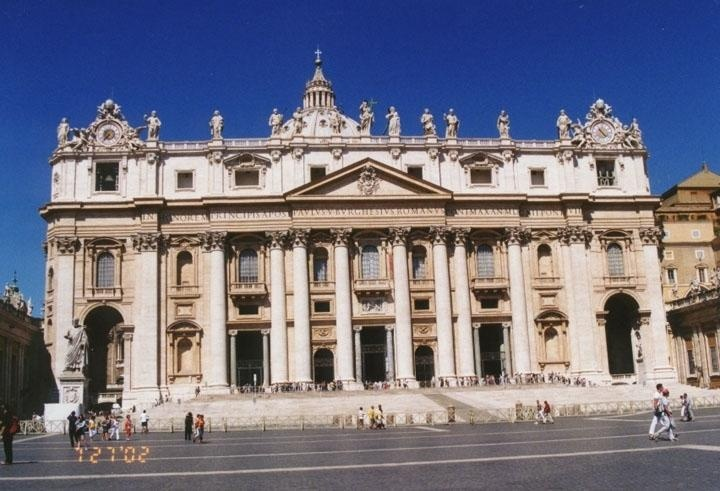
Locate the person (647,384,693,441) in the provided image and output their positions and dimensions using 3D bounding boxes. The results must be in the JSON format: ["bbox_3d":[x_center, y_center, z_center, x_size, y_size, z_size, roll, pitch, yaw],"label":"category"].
[{"bbox_3d":[14.397,8.109,38.794,1.147,2.503,1.311,-7,-15,17],"label":"person"}]

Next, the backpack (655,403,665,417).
[{"bbox_3d":[14.333,7.891,38.586,0.432,0.552,0.577,-7,-15,17],"label":"backpack"}]
